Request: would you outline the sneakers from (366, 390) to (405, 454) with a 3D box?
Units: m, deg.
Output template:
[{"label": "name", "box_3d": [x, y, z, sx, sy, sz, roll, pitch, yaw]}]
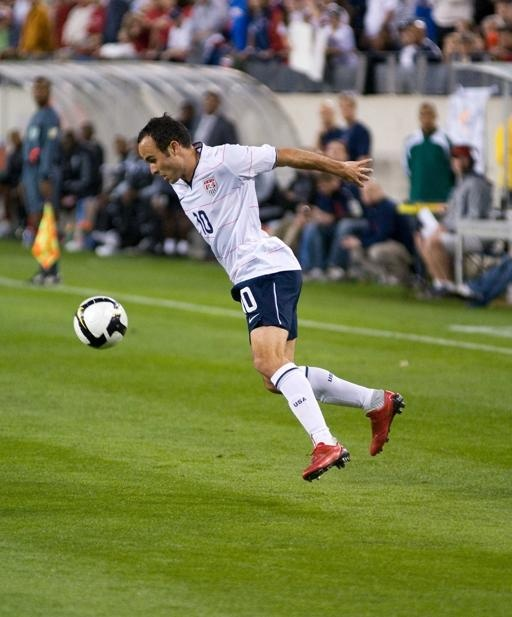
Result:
[{"label": "sneakers", "box_3d": [0.575, 0.497, 5.099, 0.183, 0.340, 0.121, 12, -1, -4]}]

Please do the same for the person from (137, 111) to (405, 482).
[{"label": "person", "box_3d": [0.031, -0.071, 4.870, 1.044, 1.554, 0.805, 4, 9, 23]}]

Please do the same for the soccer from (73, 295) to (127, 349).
[{"label": "soccer", "box_3d": [-0.852, 0.104, 6.067, 0.299, 0.263, 0.313, 9, 25, -5]}]
